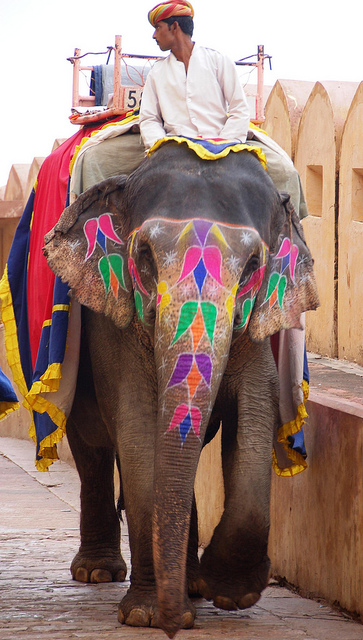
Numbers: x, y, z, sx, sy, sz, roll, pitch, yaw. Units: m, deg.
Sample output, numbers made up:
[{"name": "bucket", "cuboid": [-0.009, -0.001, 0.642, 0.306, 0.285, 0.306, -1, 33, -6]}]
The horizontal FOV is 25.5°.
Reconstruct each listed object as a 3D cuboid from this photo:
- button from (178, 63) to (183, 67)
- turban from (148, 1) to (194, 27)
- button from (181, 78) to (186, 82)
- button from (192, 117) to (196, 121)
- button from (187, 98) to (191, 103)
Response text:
[{"name": "button", "cuboid": [-0.003, -0.728, 2.290, 0.013, 0.013, 0.003, 5, 0, 9]}, {"name": "turban", "cuboid": [-0.028, -0.858, 2.225, 0.121, 0.074, 0.141, 0, 8, -2]}, {"name": "button", "cuboid": [0.008, -0.677, 2.266, 0.012, 0.010, 0.016, -1, -16, -2]}, {"name": "button", "cuboid": [0.035, -0.548, 2.191, 0.010, 0.010, 0.002, -7, -7, 4]}, {"name": "button", "cuboid": [0.022, -0.606, 2.216, 0.010, 0.014, 0.015, 7, 10, 39]}]
